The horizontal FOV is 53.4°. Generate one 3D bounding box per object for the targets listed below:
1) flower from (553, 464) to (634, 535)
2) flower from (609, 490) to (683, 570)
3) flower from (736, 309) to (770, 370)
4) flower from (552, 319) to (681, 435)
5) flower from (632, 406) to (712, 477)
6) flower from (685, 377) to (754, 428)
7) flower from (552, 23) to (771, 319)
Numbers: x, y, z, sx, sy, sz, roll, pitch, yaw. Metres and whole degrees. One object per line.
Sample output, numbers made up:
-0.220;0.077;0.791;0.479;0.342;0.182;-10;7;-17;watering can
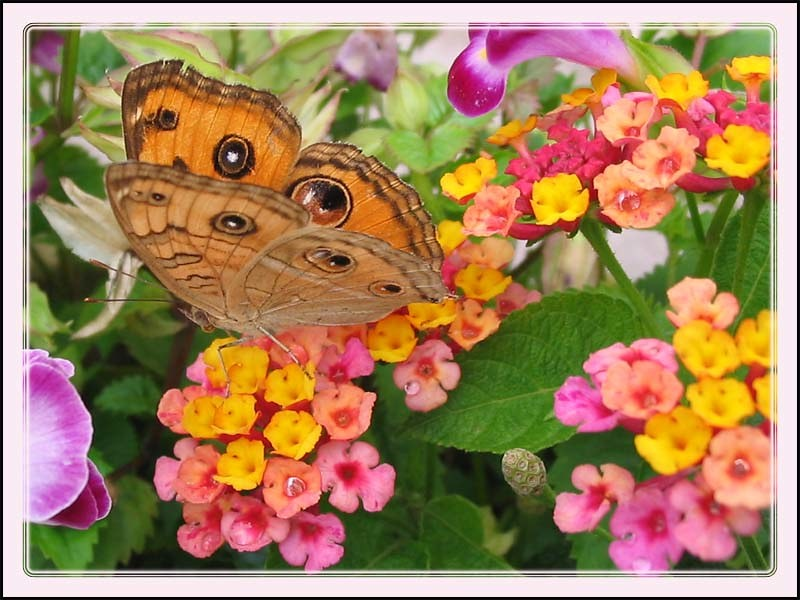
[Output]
0.343;0.347;1.406;0.127;0.036;0.131;14;61;47;flower
0.419;0.398;1.370;0.113;0.119;0.071;-4;13;12;flower
0.635;0.064;1.424;0.059;0.087;0.187;-1;14;25;flower
0.386;0.161;1.416;0.226;0.166;0.154;0;14;28;flower
0.465;0.243;1.335;0.120;0.052;0.125;-19;46;28;flower
0.529;0.171;1.325;0.091;0.035;0.089;-34;62;-9;flower
0.414;-0.261;1.651;0.512;0.515;0.478;-4;10;4;flower
